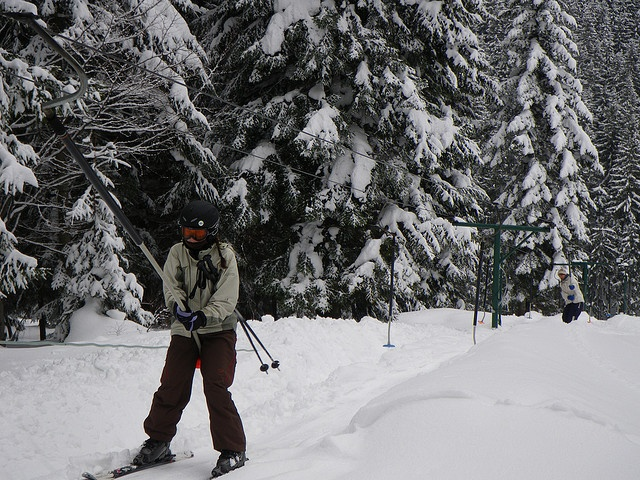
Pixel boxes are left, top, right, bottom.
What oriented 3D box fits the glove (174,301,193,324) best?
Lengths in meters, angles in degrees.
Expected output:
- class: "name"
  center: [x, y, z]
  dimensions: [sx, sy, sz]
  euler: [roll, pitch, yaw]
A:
- class: "glove"
  center: [-1.940, 1.003, 10.382]
  dimensions: [0.346, 0.285, 0.143]
  euler: [11, 12, 37]
